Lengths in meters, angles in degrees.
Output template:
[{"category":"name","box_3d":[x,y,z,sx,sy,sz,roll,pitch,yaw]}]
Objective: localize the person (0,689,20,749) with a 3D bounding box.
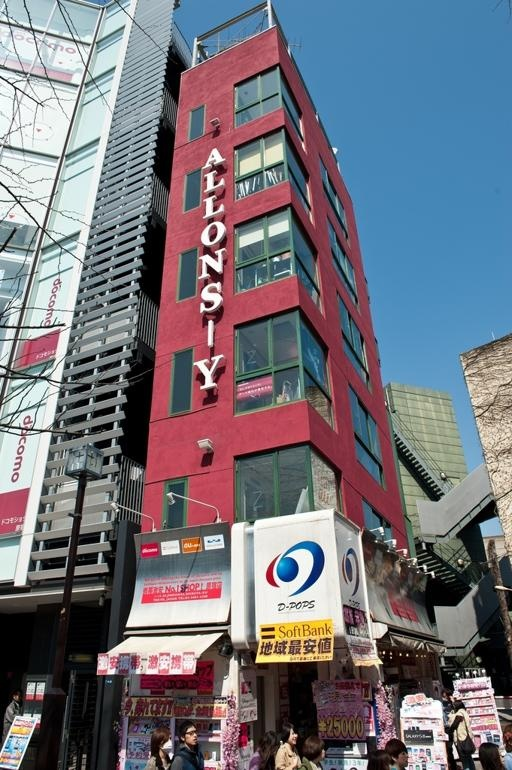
[{"category":"person","box_3d":[-6.022,8.127,13.448,0.345,1.036,1.969,10,-32,-18]}]

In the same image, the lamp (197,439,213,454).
[{"category":"lamp","box_3d":[-1.170,1.465,13.013,0.252,0.182,0.398,-12,-33,19]}]

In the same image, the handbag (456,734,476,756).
[{"category":"handbag","box_3d":[4.283,7.257,10.999,0.301,0.322,0.420,-4,-30,7]}]

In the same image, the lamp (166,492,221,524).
[{"category":"lamp","box_3d":[-1.379,2.847,12.587,1.536,0.602,0.347,11,-19,20]}]
